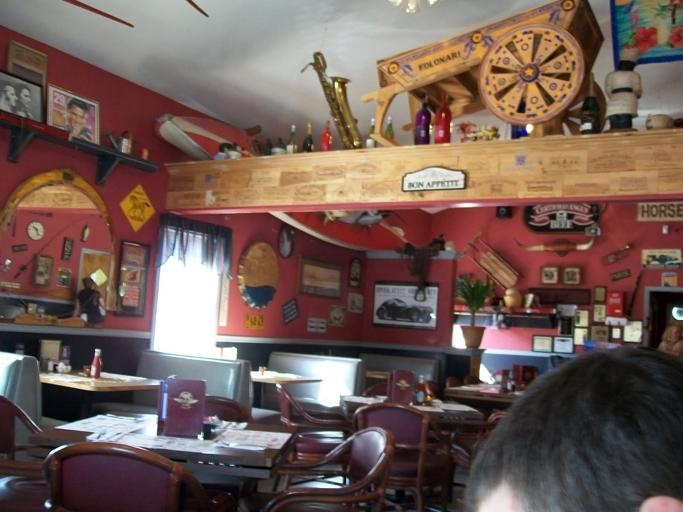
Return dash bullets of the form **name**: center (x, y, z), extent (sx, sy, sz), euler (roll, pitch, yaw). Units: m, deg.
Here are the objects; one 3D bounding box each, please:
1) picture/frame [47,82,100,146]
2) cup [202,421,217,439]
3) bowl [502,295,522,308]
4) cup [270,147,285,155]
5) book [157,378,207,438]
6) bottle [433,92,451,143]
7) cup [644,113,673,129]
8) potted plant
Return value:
- **picture/frame**: center (-2.350, -1.237, 4.782), extent (0.050, 0.460, 0.603), euler (-12, -14, 26)
- **cup**: center (-0.579, 0.760, 2.395), extent (0.046, 0.078, 0.087), euler (-2, -4, 10)
- **bowl**: center (2.934, 0.777, 9.502), extent (0.247, 0.162, 0.238), euler (0, -11, 0)
- **cup**: center (-0.616, -1.020, 5.314), extent (0.091, 0.041, 0.117), euler (1, 3, 3)
- **book**: center (-0.690, 0.650, 2.384), extent (0.191, 0.247, 0.097), euler (2, -6, -4)
- **bottle**: center (0.825, -1.138, 4.519), extent (0.126, 0.440, 0.348), euler (0, -6, 9)
- **cup**: center (2.284, -0.953, 3.949), extent (0.161, 0.102, 0.135), euler (3, 0, 8)
- **potted plant**: center (2.161, 0.855, 9.002), extent (0.620, 1.207, 1.900), euler (-1, -6, 15)
